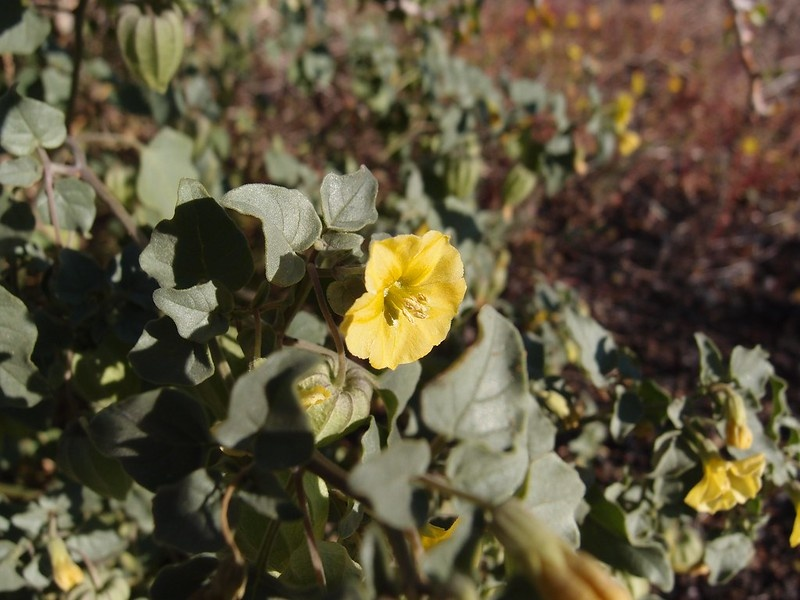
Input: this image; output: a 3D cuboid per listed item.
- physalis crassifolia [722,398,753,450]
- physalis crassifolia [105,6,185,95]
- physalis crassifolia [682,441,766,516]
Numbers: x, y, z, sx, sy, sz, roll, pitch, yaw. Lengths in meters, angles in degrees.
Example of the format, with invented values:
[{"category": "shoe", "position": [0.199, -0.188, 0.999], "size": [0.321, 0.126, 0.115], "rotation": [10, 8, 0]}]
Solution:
[{"category": "physalis crassifolia", "position": [0.900, 0.323, 2.389], "size": [0.064, 0.161, 0.053], "rotation": [-6, 11, 25]}, {"category": "physalis crassifolia", "position": [-0.688, -0.691, 2.442], "size": [0.173, 0.175, 0.153], "rotation": [4, 50, -20]}, {"category": "physalis crassifolia", "position": [0.903, 0.494, 2.441], "size": [0.222, 0.204, 0.121], "rotation": [5, 49, -19]}]
